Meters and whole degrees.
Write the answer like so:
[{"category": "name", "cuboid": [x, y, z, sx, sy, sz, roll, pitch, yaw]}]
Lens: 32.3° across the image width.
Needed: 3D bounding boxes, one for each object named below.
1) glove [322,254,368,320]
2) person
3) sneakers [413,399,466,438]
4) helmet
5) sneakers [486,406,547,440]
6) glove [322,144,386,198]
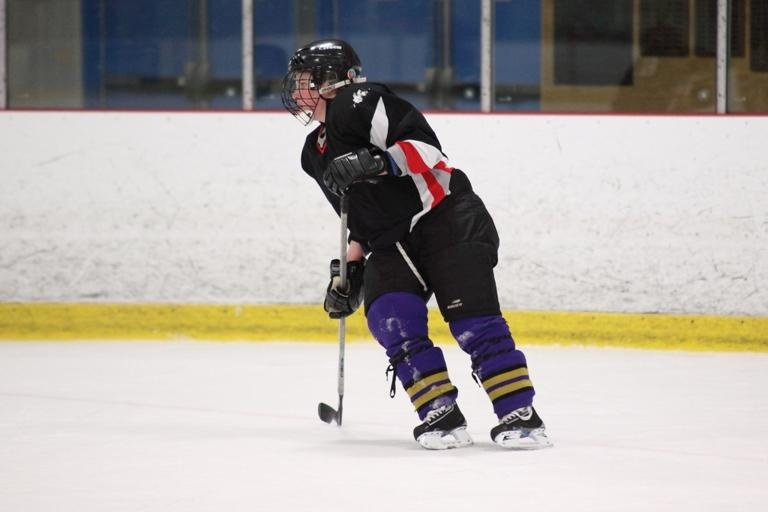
[{"category": "glove", "cuboid": [-0.213, 0.177, 7.119, 0.299, 0.285, 0.115, 3, 0, -2]}, {"category": "person", "cuboid": [0.153, -0.078, 7.018, 1.428, 2.101, 0.485, 2, 4, 7]}, {"category": "sneakers", "cuboid": [0.280, 0.839, 6.880, 0.325, 0.178, 0.105, -8, 8, -28]}, {"category": "helmet", "cuboid": [-0.311, -0.950, 7.170, 0.482, 0.428, 0.367, -4, 6, -10]}, {"category": "sneakers", "cuboid": [0.691, 0.869, 6.874, 0.325, 0.222, 0.109, 0, -12, -20]}, {"category": "glove", "cuboid": [-0.181, -0.446, 6.981, 0.249, 0.164, 0.412, -26, -7, 31]}]
